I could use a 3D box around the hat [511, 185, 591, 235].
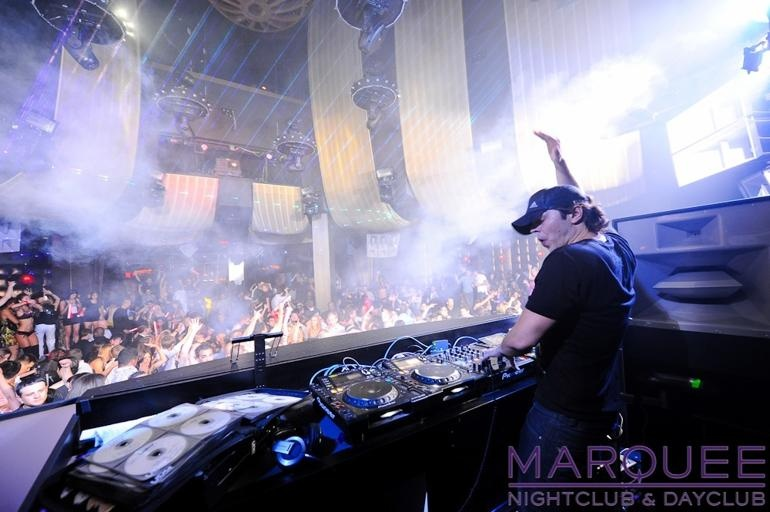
[{"bbox_3d":[1.475,-0.452,4.354,0.640,0.323,0.406,-12,-8,22],"label":"hat"}]
